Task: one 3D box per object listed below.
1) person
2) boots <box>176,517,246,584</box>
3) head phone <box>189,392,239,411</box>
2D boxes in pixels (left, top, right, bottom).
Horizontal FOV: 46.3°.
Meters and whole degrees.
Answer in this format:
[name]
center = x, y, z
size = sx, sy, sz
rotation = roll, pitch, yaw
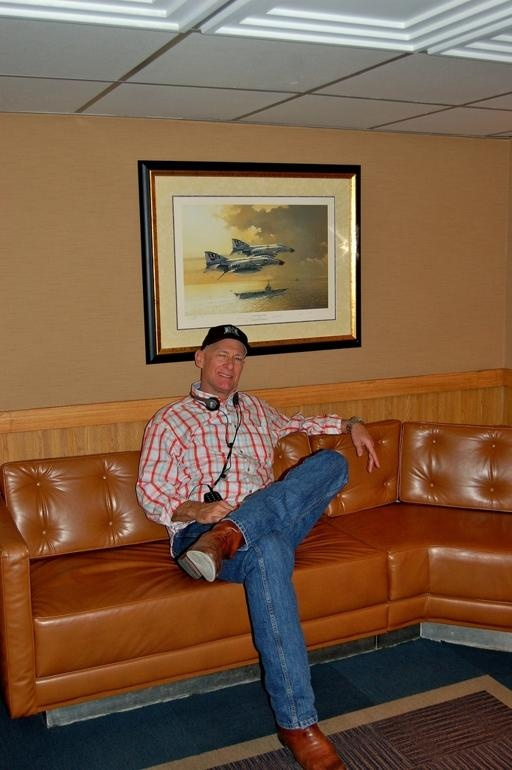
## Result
[person]
center = -0.034, 0.445, 2.091
size = 0.768, 0.845, 1.379
rotation = -7, 34, -26
[boots]
center = -0.129, 0.478, 1.733
size = 0.133, 0.133, 0.270
rotation = 0, 4, 22
[head phone]
center = -0.176, 0.072, 2.500
size = 0.185, 0.067, 0.170
rotation = -2, 17, -44
